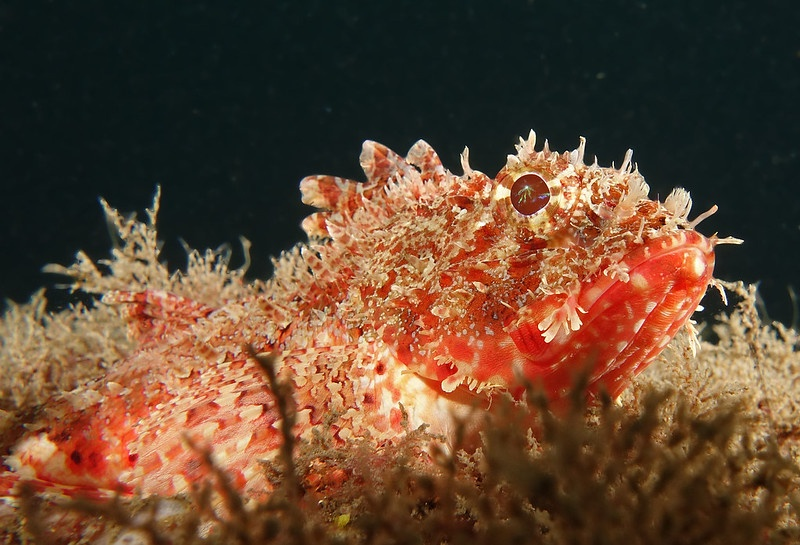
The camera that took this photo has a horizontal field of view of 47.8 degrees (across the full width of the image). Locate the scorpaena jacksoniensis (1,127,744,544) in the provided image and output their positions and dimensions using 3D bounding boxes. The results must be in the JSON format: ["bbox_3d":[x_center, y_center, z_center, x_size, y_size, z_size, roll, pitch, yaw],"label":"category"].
[{"bbox_3d":[-0.140,0.221,6.302,4.453,2.433,1.325,-1,22,-8],"label":"scorpaena jacksoniensis"}]
